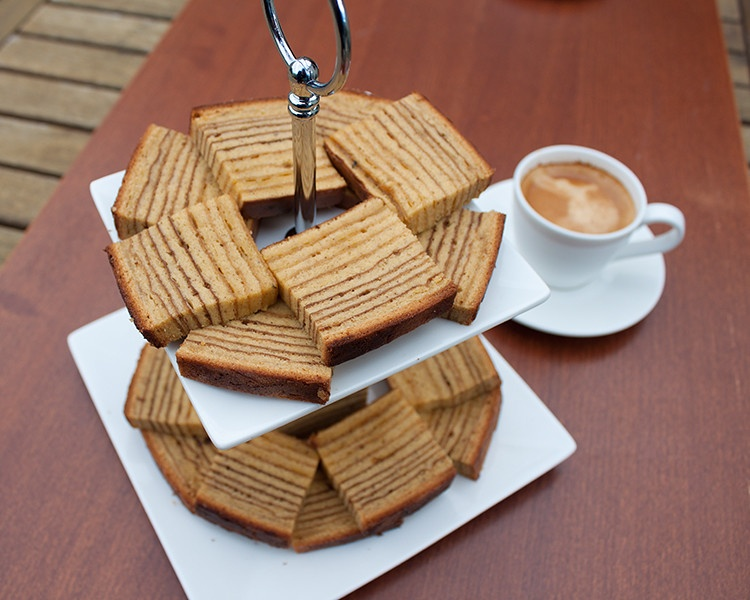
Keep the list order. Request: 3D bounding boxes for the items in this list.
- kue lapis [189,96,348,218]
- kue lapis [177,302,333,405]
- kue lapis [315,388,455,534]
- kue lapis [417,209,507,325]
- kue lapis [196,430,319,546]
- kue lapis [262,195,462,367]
[{"bbox_3d":[-0.162,-0.204,0.987,0.170,0.043,0.182,-16,62,-33],"label":"kue lapis"},{"bbox_3d":[-0.154,0.069,0.894,0.120,0.036,0.126,-18,48,-26],"label":"kue lapis"},{"bbox_3d":[0.004,0.240,1.072,0.167,0.046,0.188,-28,60,-11],"label":"kue lapis"},{"bbox_3d":[0.121,-0.055,0.972,0.131,0.036,0.132,32,73,34],"label":"kue lapis"},{"bbox_3d":[-0.176,0.291,1.051,0.153,0.041,0.164,17,53,10],"label":"kue lapis"},{"bbox_3d":[-0.030,-0.009,0.933,0.185,0.056,0.203,-26,66,-17],"label":"kue lapis"}]
